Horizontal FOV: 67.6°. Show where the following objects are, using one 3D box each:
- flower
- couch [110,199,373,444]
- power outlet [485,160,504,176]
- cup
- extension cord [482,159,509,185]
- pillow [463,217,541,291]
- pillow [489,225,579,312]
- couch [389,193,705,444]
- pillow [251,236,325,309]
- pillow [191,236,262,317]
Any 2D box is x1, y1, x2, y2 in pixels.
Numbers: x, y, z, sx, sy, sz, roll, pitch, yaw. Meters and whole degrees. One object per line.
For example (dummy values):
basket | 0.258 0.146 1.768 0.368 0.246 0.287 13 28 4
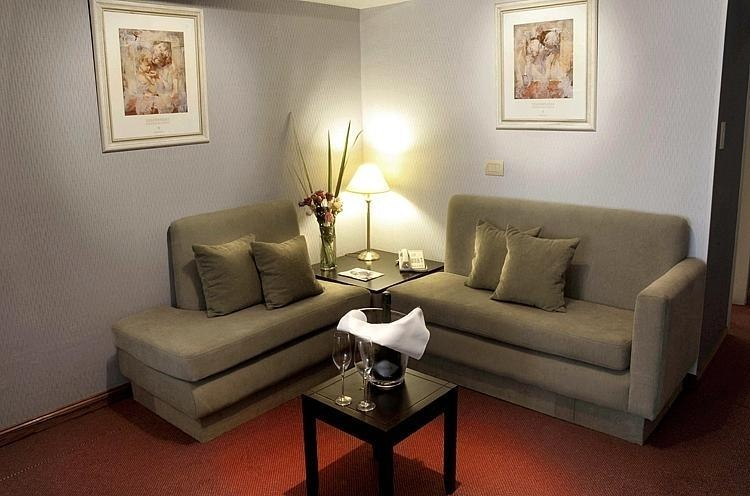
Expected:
flower | -0.456 -0.444 4.950 0.593 1.188 0.570 2 -5 -8
couch | -0.966 0.429 4.302 1.084 1.330 1.815 8 17 34
power outlet | 0.995 -0.673 4.641 0.117 0.109 0.012 12 23 34
cup | 0.059 0.574 3.199 0.388 0.407 0.375 -1 9 0
extension cord | 1.008 -0.646 4.642 0.192 0.176 0.020 12 22 34
pillow | 0.890 0.055 4.354 0.500 0.525 0.189 4 17 -30
pillow | 1.143 0.146 4.066 0.554 0.517 0.305 15 27 42
couch | 1.307 0.401 4.207 1.890 1.341 1.036 9 17 42
pillow | -0.645 0.160 4.253 0.278 0.473 0.518 6 12 43
pillow | -1.085 0.231 4.050 0.231 0.419 0.447 8 20 44
